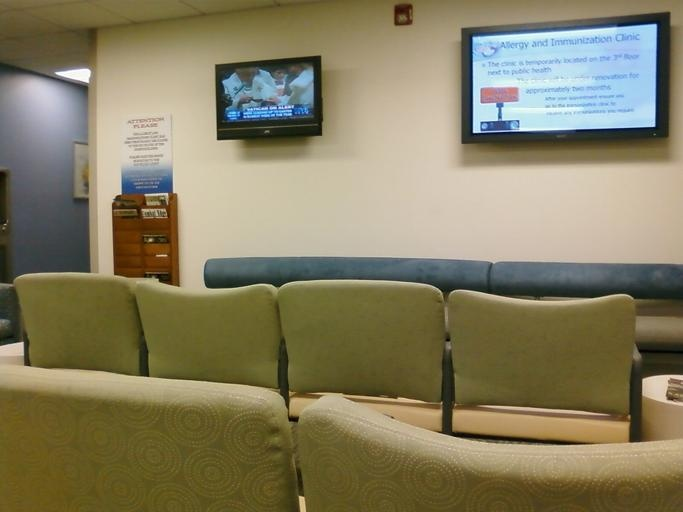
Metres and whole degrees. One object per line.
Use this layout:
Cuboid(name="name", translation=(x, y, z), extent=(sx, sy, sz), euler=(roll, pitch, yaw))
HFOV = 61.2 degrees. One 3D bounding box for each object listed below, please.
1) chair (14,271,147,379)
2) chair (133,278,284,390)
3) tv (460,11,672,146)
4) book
Cuboid(name="chair", translation=(-1.131, 0.265, 2.662), extent=(0.462, 0.434, 0.517), euler=(2, 1, 5))
Cuboid(name="chair", translation=(-0.517, 0.312, 2.323), extent=(0.500, 0.324, 0.481), euler=(1, -6, 8))
Cuboid(name="tv", translation=(1.724, -1.316, 4.254), extent=(1.042, 0.626, 0.079), euler=(1, 1, 16))
Cuboid(name="book", translation=(-1.798, -0.167, 5.303), extent=(0.636, 0.803, 0.150), euler=(2, 7, 16))
